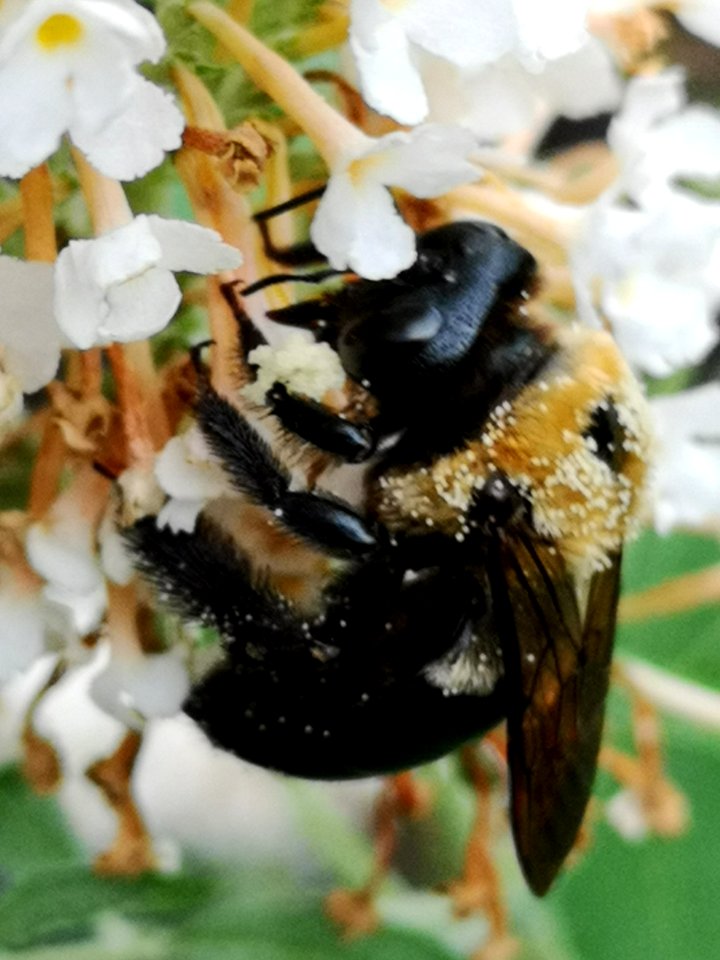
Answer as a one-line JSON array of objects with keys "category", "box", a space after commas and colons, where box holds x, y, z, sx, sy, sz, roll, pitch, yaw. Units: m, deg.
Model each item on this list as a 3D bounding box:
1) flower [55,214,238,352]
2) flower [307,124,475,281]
[{"category": "flower", "box": [-0.109, -0.094, 0.521, 0.101, 0.058, 0.034, -8, -21, -22]}, {"category": "flower", "box": [0.014, -0.139, 0.548, 0.087, 0.073, 0.027, 15, 27, -16]}]
